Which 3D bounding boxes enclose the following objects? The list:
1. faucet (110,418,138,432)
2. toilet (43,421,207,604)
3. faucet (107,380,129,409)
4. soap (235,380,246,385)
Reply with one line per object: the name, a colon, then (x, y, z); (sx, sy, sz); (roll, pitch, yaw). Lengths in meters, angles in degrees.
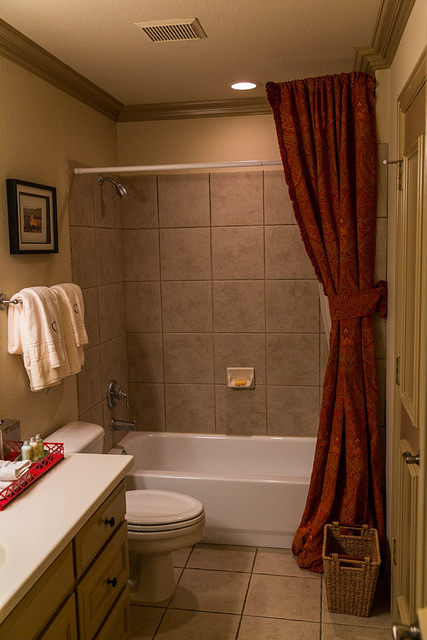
faucet: (-0.563, 0.664, 3.026); (0.133, 0.081, 0.080); (5, 5, 5)
toilet: (-0.405, 0.919, 2.286); (0.675, 0.744, 0.396); (3, 10, 9)
faucet: (-0.624, 0.476, 3.097); (0.097, 0.218, 0.215); (-1, 3, 5)
soap: (0.177, 0.409, 3.216); (0.071, 0.027, 0.023); (-1, 1, 2)
